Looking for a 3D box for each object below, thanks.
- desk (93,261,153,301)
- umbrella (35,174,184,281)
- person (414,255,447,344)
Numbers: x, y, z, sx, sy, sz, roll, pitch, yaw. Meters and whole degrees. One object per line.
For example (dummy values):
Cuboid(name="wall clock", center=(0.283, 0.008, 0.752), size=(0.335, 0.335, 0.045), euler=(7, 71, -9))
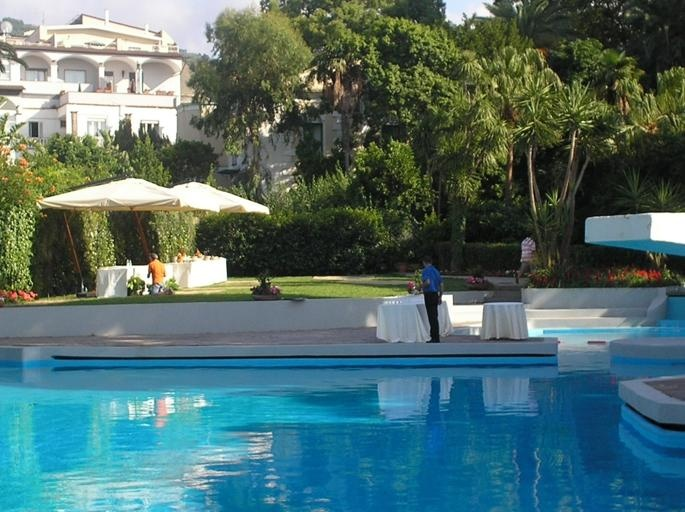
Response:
Cuboid(name="desk", center=(-7.250, 0.830, 38.734), size=(1.149, 1.421, 1.499), euler=(0, 0, 8))
Cuboid(name="umbrella", center=(-7.559, -0.682, 39.765), size=(4.074, 3.650, 3.160), euler=(-1, 12, -10))
Cuboid(name="person", center=(2.547, 1.300, 34.007), size=(0.596, 2.323, 0.831), euler=(3, 4, 3))
